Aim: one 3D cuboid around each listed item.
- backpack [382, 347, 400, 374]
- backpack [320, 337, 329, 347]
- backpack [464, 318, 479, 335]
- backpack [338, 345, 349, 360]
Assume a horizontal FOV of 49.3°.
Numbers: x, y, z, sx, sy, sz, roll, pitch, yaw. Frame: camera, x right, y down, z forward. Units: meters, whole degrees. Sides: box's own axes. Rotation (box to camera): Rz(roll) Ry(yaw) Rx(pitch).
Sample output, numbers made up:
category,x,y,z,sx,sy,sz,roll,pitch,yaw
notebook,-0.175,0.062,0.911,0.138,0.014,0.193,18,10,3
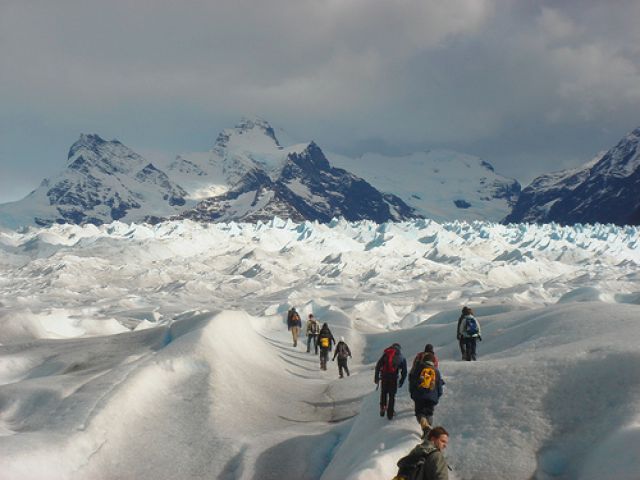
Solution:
category,x,y,z,sx,sy,sz,roll,pitch,yaw
backpack,2.442,4.127,24.311,0.625,0.906,0.432,-5,0,2
backpack,0.226,4.914,33.935,0.429,0.532,0.405,-4,0,9
backpack,6.026,3.381,27.640,0.572,0.709,0.233,-4,0,5
backpack,1.193,5.234,33.026,0.546,0.697,0.441,-5,0,-37
